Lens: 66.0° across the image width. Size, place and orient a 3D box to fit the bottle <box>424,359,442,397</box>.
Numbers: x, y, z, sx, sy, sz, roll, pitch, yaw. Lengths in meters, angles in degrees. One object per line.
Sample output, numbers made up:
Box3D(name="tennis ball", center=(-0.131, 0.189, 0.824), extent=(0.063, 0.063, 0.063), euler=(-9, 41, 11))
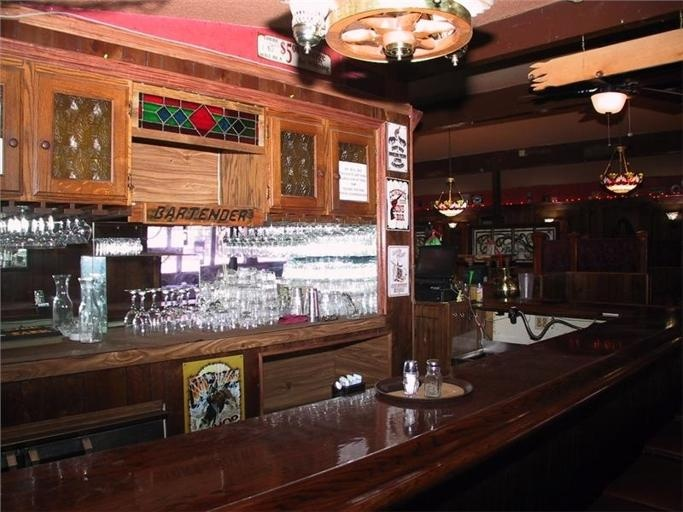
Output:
Box3D(name="bottle", center=(0.503, 0.666, 2.850), extent=(0.116, 0.191, 0.117), euler=(5, -13, 1))

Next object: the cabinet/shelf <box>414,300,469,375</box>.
Box3D(name="cabinet/shelf", center=(1.213, 0.979, 6.248), extent=(0.658, 0.923, 0.649), euler=(-2, 1, -27))

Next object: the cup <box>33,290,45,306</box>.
Box3D(name="cup", center=(-2.458, 0.334, 4.283), extent=(0.079, 0.127, 0.062), euler=(-4, 16, -34))

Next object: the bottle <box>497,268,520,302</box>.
Box3D(name="bottle", center=(1.800, 0.301, 5.823), extent=(0.273, 0.358, 0.279), euler=(-5, 0, 0))
